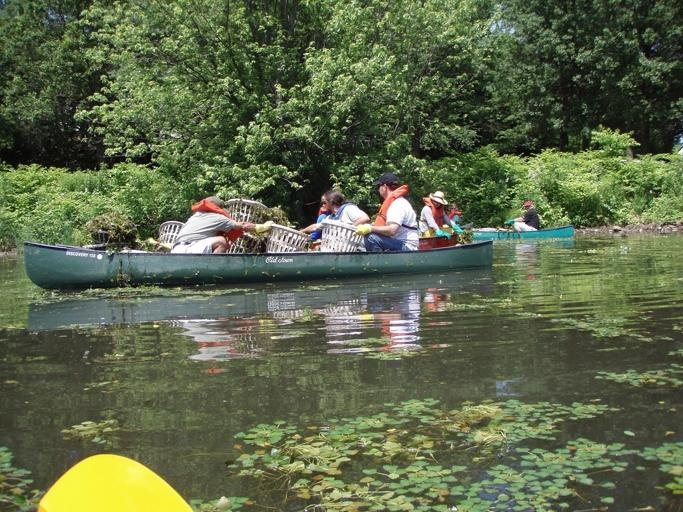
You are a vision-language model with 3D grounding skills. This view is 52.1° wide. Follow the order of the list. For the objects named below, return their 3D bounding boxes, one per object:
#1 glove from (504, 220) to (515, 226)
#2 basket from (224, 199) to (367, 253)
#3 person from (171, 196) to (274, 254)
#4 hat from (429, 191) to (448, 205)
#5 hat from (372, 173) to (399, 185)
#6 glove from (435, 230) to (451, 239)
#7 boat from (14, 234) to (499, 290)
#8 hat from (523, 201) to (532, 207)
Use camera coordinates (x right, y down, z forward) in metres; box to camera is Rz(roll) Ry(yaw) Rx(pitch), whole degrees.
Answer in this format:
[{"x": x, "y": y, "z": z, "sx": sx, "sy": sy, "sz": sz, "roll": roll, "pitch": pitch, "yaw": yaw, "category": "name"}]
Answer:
[{"x": 4.975, "y": -0.981, "z": 20.489, "sx": 0.343, "sy": 0.105, "sz": 0.233, "roll": -4, "pitch": 9, "yaw": -37, "category": "glove"}, {"x": -0.942, "y": -0.464, "z": 10.805, "sx": 1.555, "sy": 0.438, "sz": 1.115, "roll": 2, "pitch": -3, "yaw": -8, "category": "basket"}, {"x": -1.655, "y": -0.384, "z": 10.175, "sx": 1.384, "sy": 0.842, "sz": 0.834, "roll": -9, "pitch": 11, "yaw": -35, "category": "person"}, {"x": 1.875, "y": -1.127, "z": 13.434, "sx": 0.481, "sy": 0.175, "sz": 0.495, "roll": 20, "pitch": 5, "yaw": 5, "category": "hat"}, {"x": 0.635, "y": -1.161, "z": 10.575, "sx": 0.437, "sy": 0.179, "sz": 0.234, "roll": -7, "pitch": 13, "yaw": -22, "category": "hat"}, {"x": 1.772, "y": -0.404, "z": 11.989, "sx": 0.238, "sy": 0.071, "sz": 0.284, "roll": 8, "pitch": -5, "yaw": 30, "category": "glove"}, {"x": -1.014, "y": 0.097, "z": 9.998, "sx": 5.491, "sy": 0.427, "sz": 0.783, "roll": -2, "pitch": -3, "yaw": -11, "category": "boat"}, {"x": 5.380, "y": -1.510, "z": 20.164, "sx": 0.289, "sy": 0.139, "sz": 0.315, "roll": 3, "pitch": 4, "yaw": 35, "category": "hat"}]
